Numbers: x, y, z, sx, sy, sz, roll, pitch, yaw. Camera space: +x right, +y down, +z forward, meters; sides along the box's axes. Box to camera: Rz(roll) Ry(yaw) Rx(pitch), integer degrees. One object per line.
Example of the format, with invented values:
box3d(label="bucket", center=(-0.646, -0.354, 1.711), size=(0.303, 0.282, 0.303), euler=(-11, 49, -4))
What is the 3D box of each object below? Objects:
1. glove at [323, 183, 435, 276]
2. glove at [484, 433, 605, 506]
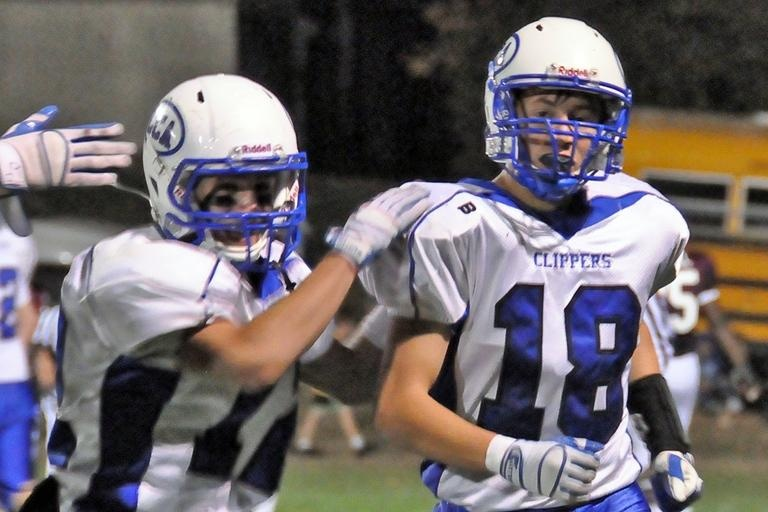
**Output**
box3d(label="glove", center=(-0.013, -0.121, 4.437), size=(0.393, 0.117, 0.226), euler=(-35, 64, -32))
box3d(label="glove", center=(0.678, 0.773, 4.506), size=(0.369, 0.160, 0.280), euler=(-14, 18, 47))
